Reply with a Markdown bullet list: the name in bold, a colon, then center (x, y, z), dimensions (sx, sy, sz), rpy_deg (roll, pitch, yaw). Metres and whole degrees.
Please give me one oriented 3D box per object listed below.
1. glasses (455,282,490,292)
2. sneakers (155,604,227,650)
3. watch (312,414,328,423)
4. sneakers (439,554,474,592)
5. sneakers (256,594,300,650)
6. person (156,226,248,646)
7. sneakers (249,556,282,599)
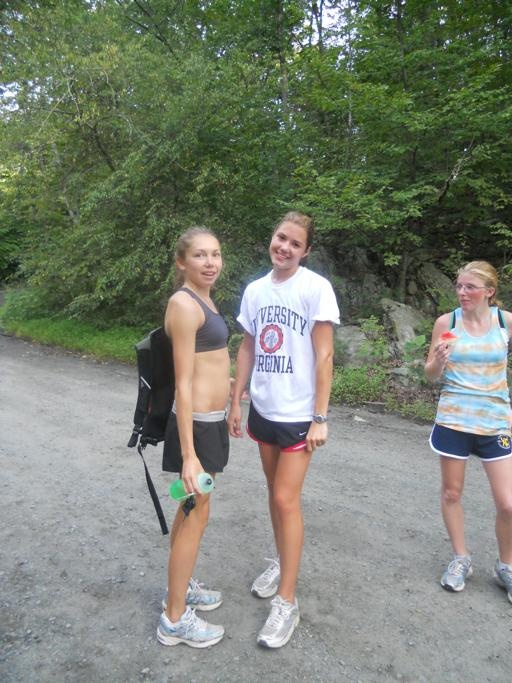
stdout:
- **glasses**: center (1.220, -0.297, 2.868), dimensions (0.197, 0.067, 0.119), rpy_deg (5, 9, 22)
- **sneakers**: center (-0.304, 1.346, 2.464), dimensions (0.320, 0.162, 0.138), rpy_deg (4, 6, -4)
- **watch**: center (0.299, 0.364, 2.453), dimensions (0.046, 0.028, 0.049), rpy_deg (2, 5, 3)
- **sneakers**: center (1.127, 1.291, 2.891), dimensions (0.098, 0.113, 0.260), rpy_deg (5, 0, 33)
- **sneakers**: center (0.116, 1.331, 2.482), dimensions (0.125, 0.156, 0.349), rpy_deg (-2, -1, 27)
- **person**: center (-0.297, 0.432, 2.445), dimensions (0.331, 1.934, 0.519), rpy_deg (1, 9, -4)
- **sneakers**: center (0.060, 1.299, 2.821), dimensions (0.093, 0.113, 0.257), rpy_deg (6, -5, 22)
